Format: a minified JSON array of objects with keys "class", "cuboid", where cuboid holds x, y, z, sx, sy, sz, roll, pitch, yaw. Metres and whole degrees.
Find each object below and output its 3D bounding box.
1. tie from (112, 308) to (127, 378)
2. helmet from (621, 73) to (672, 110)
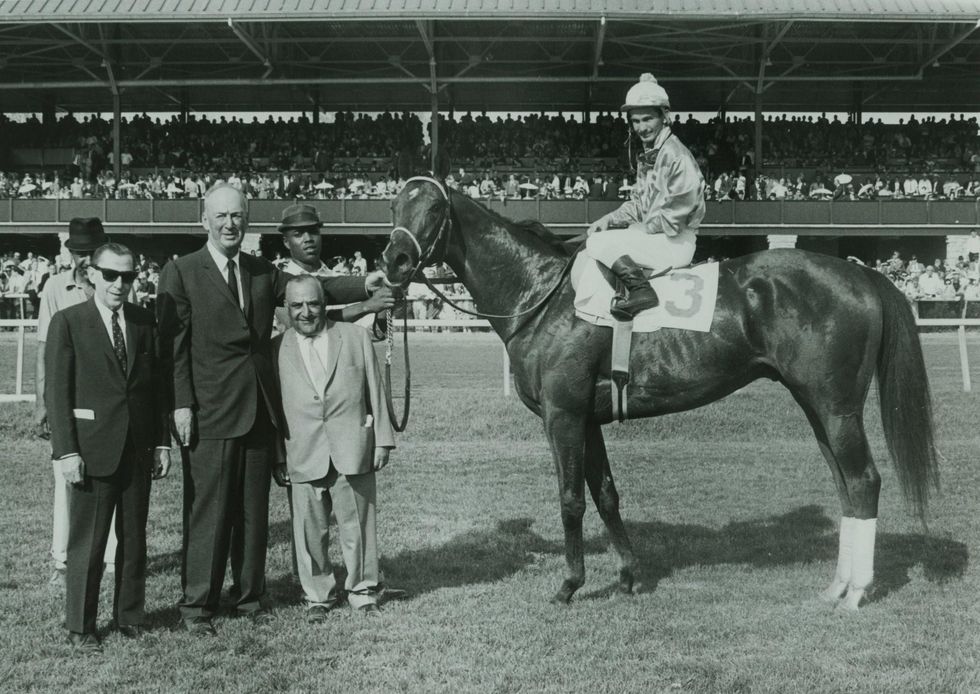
[{"class":"tie","cuboid":[-4.022,-0.054,17.073,0.115,0.763,0.078,-7,-10,-10]},{"class":"helmet","cuboid":[1.803,-2.916,17.629,0.383,0.373,0.508,0,2,29]}]
